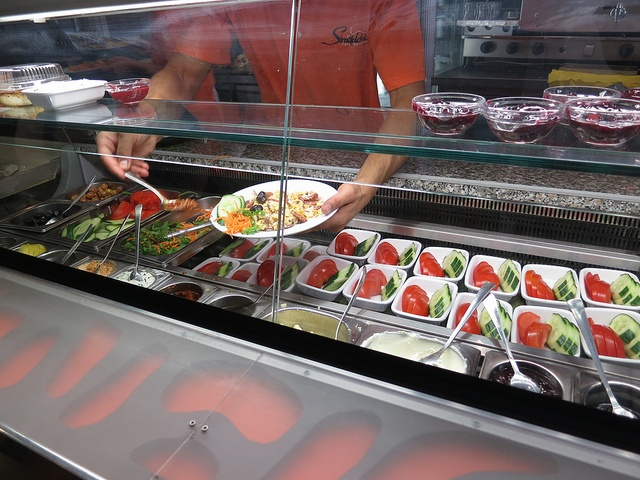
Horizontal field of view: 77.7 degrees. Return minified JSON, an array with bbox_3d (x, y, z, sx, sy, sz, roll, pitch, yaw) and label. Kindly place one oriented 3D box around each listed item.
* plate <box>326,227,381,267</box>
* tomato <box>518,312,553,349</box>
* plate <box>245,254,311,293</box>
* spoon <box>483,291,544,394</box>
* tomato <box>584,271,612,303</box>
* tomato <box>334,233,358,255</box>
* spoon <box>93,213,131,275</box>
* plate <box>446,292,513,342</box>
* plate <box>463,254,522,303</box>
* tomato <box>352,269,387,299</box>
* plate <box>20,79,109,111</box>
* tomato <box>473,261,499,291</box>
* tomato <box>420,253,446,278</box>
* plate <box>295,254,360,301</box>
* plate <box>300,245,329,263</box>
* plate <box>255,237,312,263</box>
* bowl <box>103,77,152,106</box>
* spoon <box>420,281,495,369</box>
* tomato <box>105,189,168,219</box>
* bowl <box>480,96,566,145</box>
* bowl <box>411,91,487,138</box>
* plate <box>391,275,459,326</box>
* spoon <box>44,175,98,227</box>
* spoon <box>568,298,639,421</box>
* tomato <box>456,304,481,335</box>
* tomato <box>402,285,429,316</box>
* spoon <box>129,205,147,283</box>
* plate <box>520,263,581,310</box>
[{"bbox_3d":[0.099,0.021,1.193,0.140,0.119,0.043,7,-50,21],"label":"plate"},{"bbox_3d":[0.523,0.225,0.980,0.069,0.077,0.027,-12,-53,26],"label":"tomato"},{"bbox_3d":[-0.123,0.096,1.147,0.116,0.138,0.025,7,-64,19],"label":"plate"},{"bbox_3d":[0.453,0.241,0.942,0.152,0.228,0.085,11,-29,28],"label":"spoon"},{"bbox_3d":[0.695,0.120,1.007,0.072,0.068,0.023,-25,-24,-4],"label":"tomato"},{"bbox_3d":[0.075,0.014,1.195,0.073,0.065,0.019,19,-22,-2],"label":"tomato"},{"bbox_3d":[-0.689,0.007,1.372,0.041,0.265,0.038,30,-25,5],"label":"spoon"},{"bbox_3d":[0.407,0.204,1.032,0.135,0.126,0.041,8,-50,11],"label":"plate"},{"bbox_3d":[0.476,0.098,1.082,0.143,0.130,0.042,1,-48,6],"label":"plate"},{"bbox_3d":[0.141,0.127,1.115,0.067,0.079,0.023,31,-22,3],"label":"tomato"},{"bbox_3d":[-0.683,-0.392,1.071,0.111,0.165,0.038,21,-60,40],"label":"plate"},{"bbox_3d":[0.448,0.100,1.079,0.070,0.072,0.024,17,-20,16],"label":"tomato"},{"bbox_3d":[0.321,0.076,1.138,0.056,0.073,0.027,-16,-19,-5],"label":"tomato"},{"bbox_3d":[0.026,0.106,1.146,0.151,0.150,0.051,11,-48,25],"label":"plate"},{"bbox_3d":[-0.027,0.044,1.184,0.053,0.051,0.020,5,-29,30],"label":"plate"},{"bbox_3d":[-0.098,0.026,1.171,0.092,0.111,0.019,2,-69,10],"label":"plate"},{"bbox_3d":[-0.502,-0.394,1.036,0.102,0.084,0.049,-1,-62,1],"label":"bowl"},{"bbox_3d":[0.345,0.207,0.960,0.114,0.234,0.112,29,-24,-8],"label":"spoon"},{"bbox_3d":[-0.642,-0.117,1.403,0.180,0.104,0.066,-10,-22,15],"label":"tomato"},{"bbox_3d":[0.371,-0.224,0.733,0.134,0.116,0.048,5,-69,17],"label":"bowl"},{"bbox_3d":[0.254,-0.262,0.798,0.140,0.118,0.051,0,-67,4],"label":"bowl"},{"bbox_3d":[0.274,0.160,1.083,0.158,0.121,0.045,25,-9,-6],"label":"plate"},{"bbox_3d":[-0.958,-0.145,1.536,0.313,0.054,0.044,-38,-8,12],"label":"spoon"},{"bbox_3d":[0.615,0.258,0.879,0.164,0.249,0.078,16,-27,18],"label":"spoon"},{"bbox_3d":[0.384,0.207,1.027,0.069,0.065,0.036,3,-8,7],"label":"tomato"},{"bbox_3d":[0.258,0.167,1.085,0.072,0.072,0.022,-16,-39,-19],"label":"tomato"},{"bbox_3d":[-0.584,0.013,1.302,0.066,0.238,0.038,-2,-7,9],"label":"spoon"},{"bbox_3d":[0.589,0.115,1.043,0.130,0.117,0.040,0,-41,14],"label":"plate"}]
